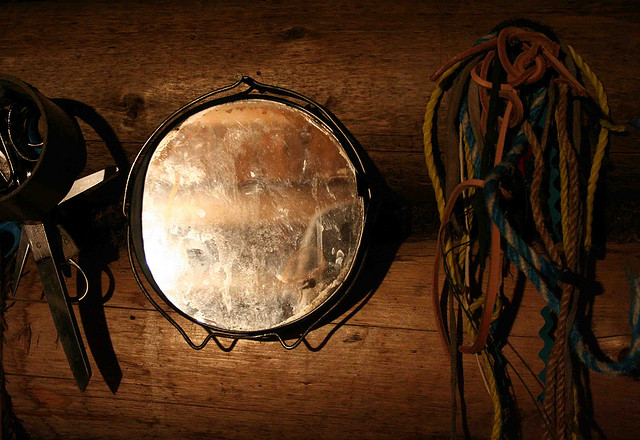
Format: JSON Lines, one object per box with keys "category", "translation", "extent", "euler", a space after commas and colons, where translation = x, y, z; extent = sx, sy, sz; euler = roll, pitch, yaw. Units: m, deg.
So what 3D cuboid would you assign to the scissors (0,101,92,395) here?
{"category": "scissors", "translation": [-0.801, 0.073, 2.227], "extent": [0.301, 0.825, 0.087], "euler": [5, 5, 26]}
